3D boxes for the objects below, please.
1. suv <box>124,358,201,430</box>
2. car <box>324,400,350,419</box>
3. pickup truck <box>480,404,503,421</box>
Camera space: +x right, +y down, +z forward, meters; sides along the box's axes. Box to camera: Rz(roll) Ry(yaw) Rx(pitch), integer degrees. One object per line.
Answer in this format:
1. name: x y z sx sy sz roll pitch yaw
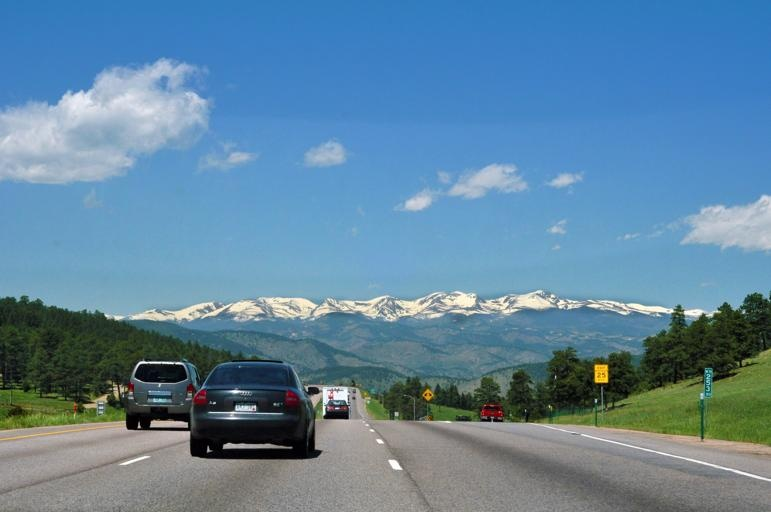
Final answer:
1. suv: -9.552 5.842 32.691 2.164 1.988 4.070 1 -2 0
2. car: -5.369 16.758 78.970 2.540 1.960 3.591 -1 -14 -6
3. pickup truck: 10.702 16.024 74.308 1.359 1.186 2.513 0 -11 2
